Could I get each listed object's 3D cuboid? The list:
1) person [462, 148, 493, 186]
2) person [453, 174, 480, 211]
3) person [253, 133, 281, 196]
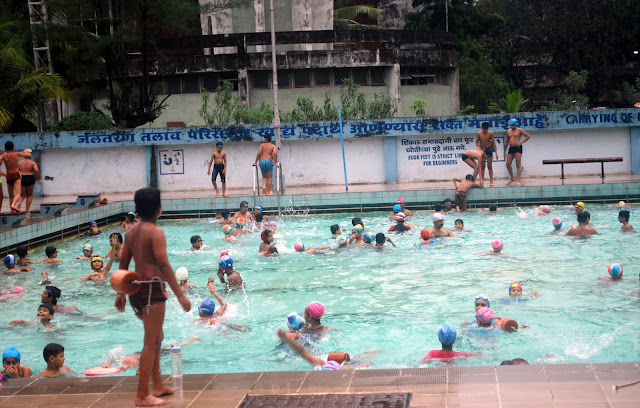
[{"bbox_3d":[5.221,-1.280,24.882,0.925,1.153,1.864,4,2,7],"label":"person"},{"bbox_3d":[4.756,-0.305,24.255,0.852,1.387,0.568,-3,21,-35],"label":"person"},{"bbox_3d":[-1.790,-1.216,24.885,0.744,1.788,0.764,-6,7,-5],"label":"person"}]
